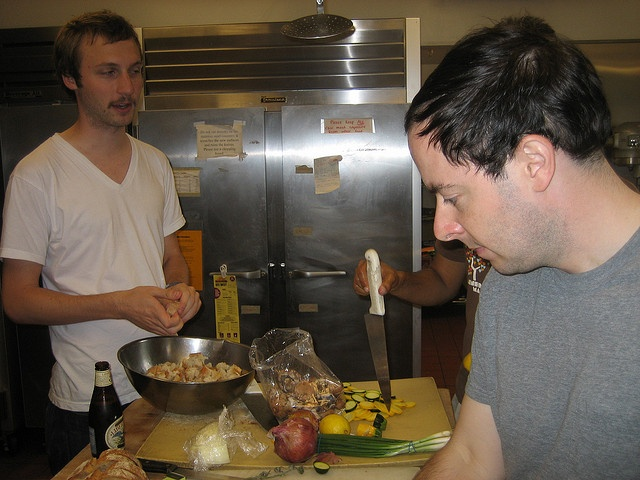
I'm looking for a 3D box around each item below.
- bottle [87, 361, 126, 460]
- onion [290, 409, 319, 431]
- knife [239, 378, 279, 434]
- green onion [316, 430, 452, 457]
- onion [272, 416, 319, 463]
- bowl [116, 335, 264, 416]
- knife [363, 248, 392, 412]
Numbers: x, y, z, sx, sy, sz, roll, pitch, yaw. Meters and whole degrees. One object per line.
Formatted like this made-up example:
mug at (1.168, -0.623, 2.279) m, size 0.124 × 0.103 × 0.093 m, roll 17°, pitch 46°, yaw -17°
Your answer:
bottle at (-0.643, 0.527, 1.554) m, size 0.099 × 0.302 × 0.086 m, roll 1°, pitch 2°, yaw 27°
onion at (-0.044, 0.563, 1.654) m, size 0.074 × 0.043 × 0.068 m, roll 17°, pitch -11°, yaw 18°
knife at (-0.208, 0.584, 1.798) m, size 0.079 × 0.108 × 0.097 m, roll -1°, pitch 8°, yaw -19°
green onion at (0.193, 0.627, 1.583) m, size 0.448 × 0.065 × 0.103 m, roll 0°, pitch 4°, yaw 8°
onion at (-0.059, 0.594, 1.587) m, size 0.147 × 0.121 × 0.126 m, roll 14°, pitch 20°, yaw -4°
bowl at (-0.464, 0.420, 1.931) m, size 0.571 × 0.213 × 0.582 m, roll -1°, pitch 2°, yaw 0°
knife at (0.196, 0.312, 1.854) m, size 0.098 × 0.512 × 0.119 m, roll 4°, pitch 12°, yaw 4°
